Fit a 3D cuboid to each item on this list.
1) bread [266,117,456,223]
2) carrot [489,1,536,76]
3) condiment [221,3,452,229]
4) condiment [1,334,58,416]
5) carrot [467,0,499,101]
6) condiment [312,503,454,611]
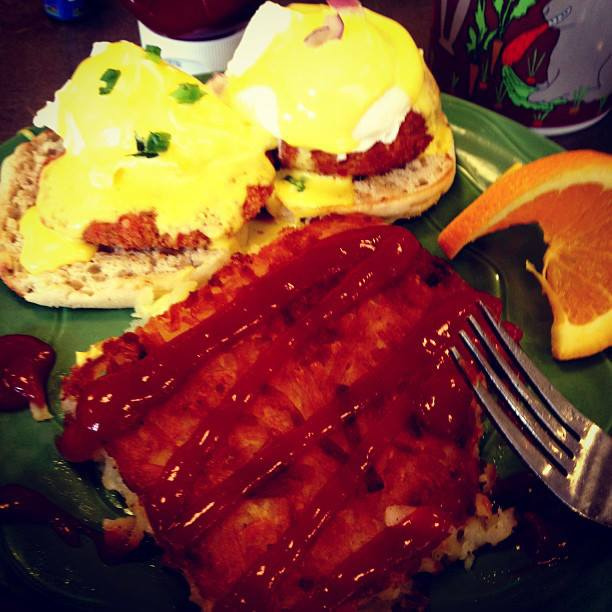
[{"bbox_3d":[0.260,-0.381,2.094,0.356,0.087,0.300,-23,40,-16],"label":"bread"},{"bbox_3d":[0.594,-0.816,2.066,0.063,0.163,0.012,31,46,23],"label":"carrot"},{"bbox_3d":[0.085,-0.576,1.997,0.572,0.354,0.511,-23,72,-6],"label":"condiment"},{"bbox_3d":[-0.724,0.163,1.767,0.157,0.049,0.191,-23,59,-42],"label":"condiment"},{"bbox_3d":[0.549,-0.805,2.151,0.078,0.275,0.031,26,56,28],"label":"carrot"},{"bbox_3d":[0.172,0.563,1.552,0.347,0.040,0.098,-33,73,-10],"label":"condiment"}]
